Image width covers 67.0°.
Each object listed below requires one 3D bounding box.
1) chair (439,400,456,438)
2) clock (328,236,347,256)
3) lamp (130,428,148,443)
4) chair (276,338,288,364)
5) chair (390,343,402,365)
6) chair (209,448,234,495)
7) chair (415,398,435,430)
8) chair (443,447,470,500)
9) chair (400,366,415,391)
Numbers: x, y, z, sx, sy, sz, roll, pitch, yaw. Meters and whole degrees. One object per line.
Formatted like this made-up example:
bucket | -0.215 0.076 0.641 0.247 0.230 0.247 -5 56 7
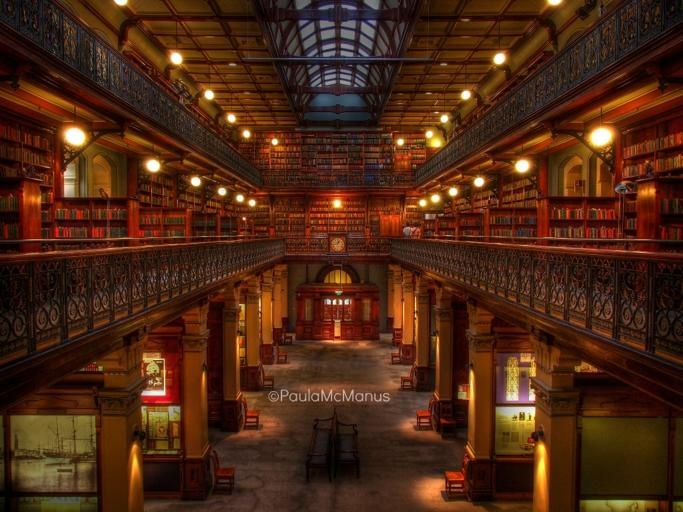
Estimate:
chair | 2.887 4.397 14.063 0.526 0.826 0.771 1 5 13
clock | -0.170 -0.415 20.933 0.717 0.787 0.750 0 4 3
lamp | -3.282 2.909 8.333 0.189 0.292 0.247 -2 6 -20
chair | -2.503 3.905 21.253 0.550 1.225 0.664 -1 4 2
chair | 2.241 3.963 20.844 0.579 1.182 0.630 2 -4 -4
chair | -2.701 4.839 11.587 0.650 1.140 0.666 -1 -1 -2
chair | 2.342 4.485 14.713 0.624 1.052 0.610 1 -3 -4
chair | 2.627 4.862 11.645 0.662 1.282 0.728 1 -7 2
chair | 2.241 4.202 17.791 0.596 1.118 0.635 1 -3 -2
